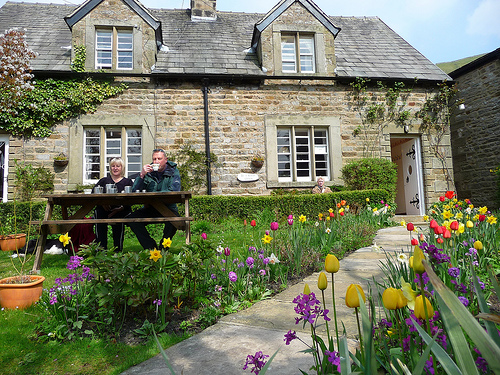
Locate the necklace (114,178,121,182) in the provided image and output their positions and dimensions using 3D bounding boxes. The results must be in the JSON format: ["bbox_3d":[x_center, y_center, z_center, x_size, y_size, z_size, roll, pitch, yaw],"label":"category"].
[{"bbox_3d":[-2.374,-0.133,7.490,0.071,0.023,0.081,4,30,7],"label":"necklace"}]

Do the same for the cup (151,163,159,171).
[{"bbox_3d":[-1.462,-0.312,6.435,0.096,0.086,0.116,-1,-4,-4],"label":"cup"}]

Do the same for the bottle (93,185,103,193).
[{"bbox_3d":[-2.477,0.038,6.841,0.123,0.174,0.172,1,-5,-6],"label":"bottle"}]

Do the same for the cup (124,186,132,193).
[{"bbox_3d":[-1.962,0.034,6.711,0.105,0.125,0.137,0,-7,-3],"label":"cup"}]

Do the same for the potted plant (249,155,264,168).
[{"bbox_3d":[0.181,-0.718,11.514,0.318,0.261,0.352,2,8,6],"label":"potted plant"}]

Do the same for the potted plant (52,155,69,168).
[{"bbox_3d":[-4.881,-0.669,10.795,0.282,0.210,0.316,1,-4,3],"label":"potted plant"}]

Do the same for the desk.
[{"bbox_3d":[-2.073,1.017,6.479,1.880,1.008,1.314,-1,1,-3],"label":"desk"}]
